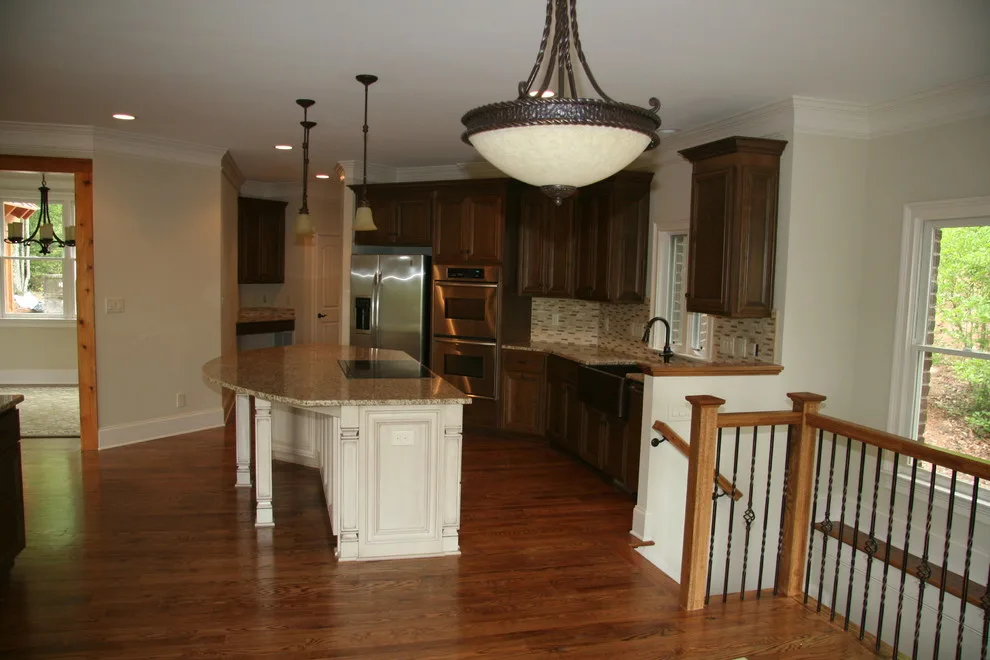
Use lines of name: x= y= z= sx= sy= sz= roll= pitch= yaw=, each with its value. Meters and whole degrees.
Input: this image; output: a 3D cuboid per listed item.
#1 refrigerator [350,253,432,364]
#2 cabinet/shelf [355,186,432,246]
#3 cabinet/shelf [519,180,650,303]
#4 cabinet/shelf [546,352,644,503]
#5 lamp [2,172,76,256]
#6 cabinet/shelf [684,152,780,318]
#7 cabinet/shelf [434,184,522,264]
refrigerator: x=-1.255 y=-0.265 z=8.501 sx=0.938 sy=1.229 sz=0.309 roll=0 pitch=5 yaw=-2
cabinet/shelf: x=-1.142 y=-1.343 z=8.345 sx=0.947 sy=0.608 sz=0.338 roll=1 pitch=7 yaw=5
cabinet/shelf: x=0.965 y=-0.916 z=7.429 sx=1.459 sy=1.100 sz=0.430 roll=4 pitch=4 yaw=40
cabinet/shelf: x=0.979 y=0.962 z=6.969 sx=0.717 sy=0.799 sz=1.311 roll=2 pitch=6 yaw=-11
lamp: x=-5.966 y=-1.548 z=9.487 sx=0.705 sy=1.090 sz=2.125 roll=-3 pitch=5 yaw=-33
cabinet/shelf: x=2.006 y=-0.840 z=6.147 sx=0.724 sy=1.438 sz=0.316 roll=2 pitch=5 yaw=16
cabinet/shelf: x=-0.158 y=-1.227 z=8.203 sx=1.006 sy=0.879 sz=0.510 roll=2 pitch=0 yaw=29
